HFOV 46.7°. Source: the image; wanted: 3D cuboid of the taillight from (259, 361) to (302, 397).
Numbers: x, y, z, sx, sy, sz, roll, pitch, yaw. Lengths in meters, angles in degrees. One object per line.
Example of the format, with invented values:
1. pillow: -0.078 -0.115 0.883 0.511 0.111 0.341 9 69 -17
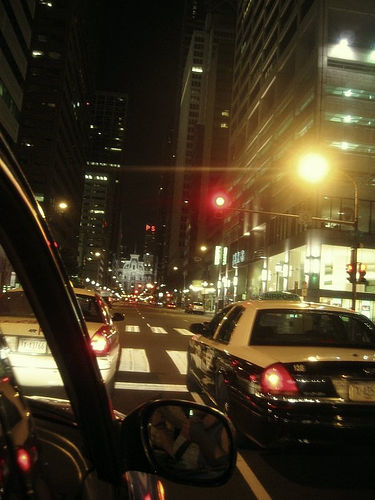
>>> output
1. taillight: 0.803 1.153 3.822 0.333 0.242 0.125 -11 -5 6

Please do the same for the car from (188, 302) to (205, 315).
1. car: 1.080 7.720 57.487 1.442 1.279 3.346 1 1 0
